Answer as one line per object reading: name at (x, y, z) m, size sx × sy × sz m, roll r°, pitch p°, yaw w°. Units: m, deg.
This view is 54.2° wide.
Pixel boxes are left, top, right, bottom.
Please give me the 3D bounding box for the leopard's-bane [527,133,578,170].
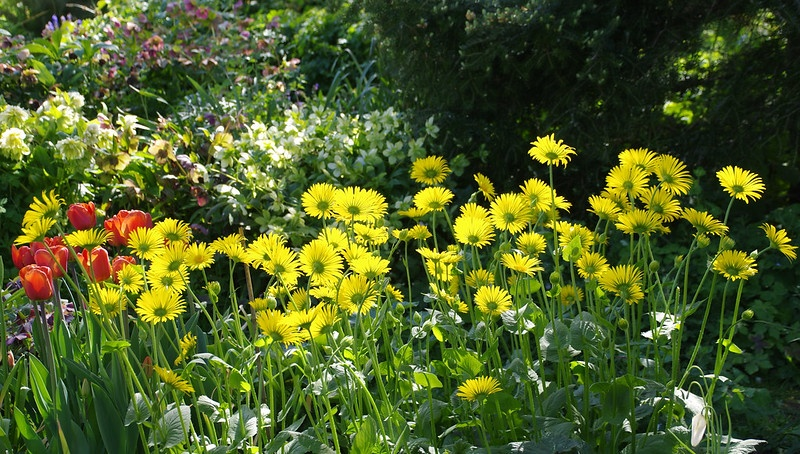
leopard's-bane at (0.640, -0.324, 3.304) m, size 0.188 × 0.079 × 0.182 m, roll 10°, pitch -17°, yaw -33°
